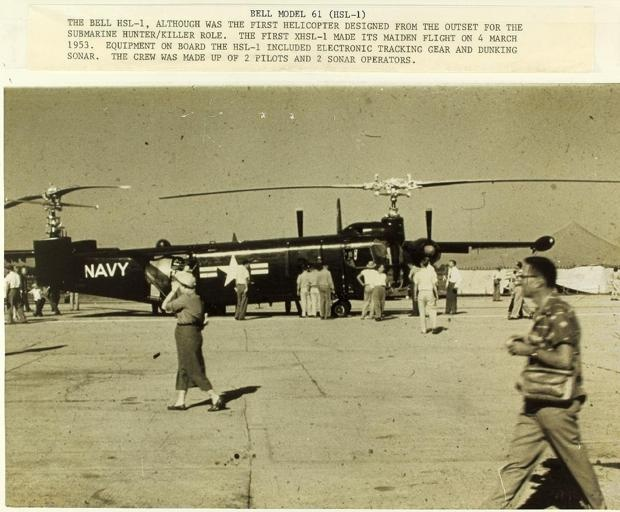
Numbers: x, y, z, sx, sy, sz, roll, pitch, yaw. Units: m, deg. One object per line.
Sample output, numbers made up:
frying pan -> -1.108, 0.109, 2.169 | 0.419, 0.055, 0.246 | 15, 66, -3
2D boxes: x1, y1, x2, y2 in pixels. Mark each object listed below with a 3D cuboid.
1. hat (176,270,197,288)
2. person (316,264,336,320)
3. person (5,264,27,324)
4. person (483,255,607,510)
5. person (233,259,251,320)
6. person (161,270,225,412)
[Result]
hat -> -2.090, 0.375, 17.151 | 0.339, 0.314, 0.365 | -3, 14, -9
person -> 0.369, 0.946, 26.180 | 0.387, 1.257, 0.578 | -1, 14, 0
person -> -7.391, 0.968, 25.713 | 0.446, 1.689, 1.068 | -5, 14, -17
person -> 3.393, 1.812, 14.571 | 1.257, 3.494, 0.941 | 2, 14, 12
person -> -1.755, 0.930, 26.760 | 0.422, 1.396, 1.061 | -2, 14, -4
person -> -2.003, 1.437, 17.302 | 0.904, 2.466, 0.968 | -3, 14, -9
